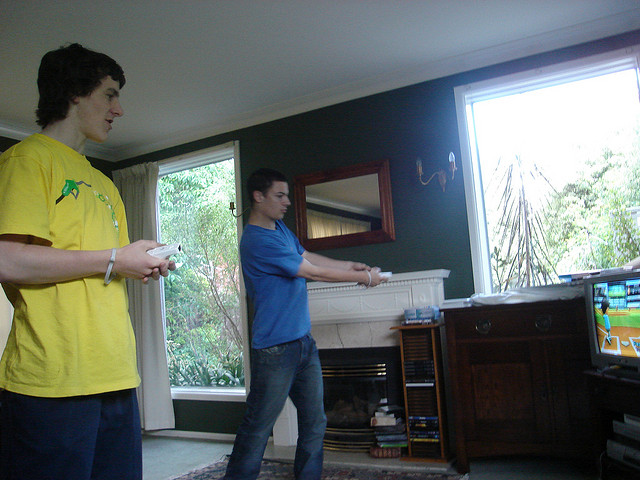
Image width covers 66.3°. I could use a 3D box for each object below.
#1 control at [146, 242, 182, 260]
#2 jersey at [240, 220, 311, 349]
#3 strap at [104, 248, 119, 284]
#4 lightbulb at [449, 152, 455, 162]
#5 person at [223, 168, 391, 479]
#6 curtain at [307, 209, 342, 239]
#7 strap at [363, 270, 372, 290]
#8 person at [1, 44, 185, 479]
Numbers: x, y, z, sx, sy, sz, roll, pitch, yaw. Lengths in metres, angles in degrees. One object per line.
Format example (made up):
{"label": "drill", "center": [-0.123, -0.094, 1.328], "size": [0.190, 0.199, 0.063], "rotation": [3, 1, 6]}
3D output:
{"label": "control", "center": [-0.485, 0.038, 1.549], "size": [0.123, 0.050, 0.079], "rotation": [1, -8, -41]}
{"label": "jersey", "center": [-0.244, 0.223, 2.594], "size": [0.343, 0.663, 0.242], "rotation": [-3, -5, -7]}
{"label": "strap", "center": [-0.630, 0.081, 1.482], "size": [0.024, 0.096, 0.072], "rotation": [9, 0, -8]}
{"label": "lightbulb", "center": [1.065, -0.674, 3.981], "size": [0.043, 0.086, 0.104], "rotation": [-6, -6, 19]}
{"label": "person", "center": [-0.159, 0.416, 2.645], "size": [0.778, 1.650, 0.340], "rotation": [-3, -5, -13]}
{"label": "curtain", "center": [0.050, -0.137, 4.447], "size": [0.253, 0.220, 0.031], "rotation": [-4, -6, 22]}
{"label": "strap", "center": [0.261, 0.212, 2.709], "size": [0.043, 0.090, 0.126], "rotation": [-4, -6, 3]}
{"label": "person", "center": [-0.726, 0.053, 1.526], "size": [0.448, 1.383, 0.298], "rotation": [0, -6, -34]}
